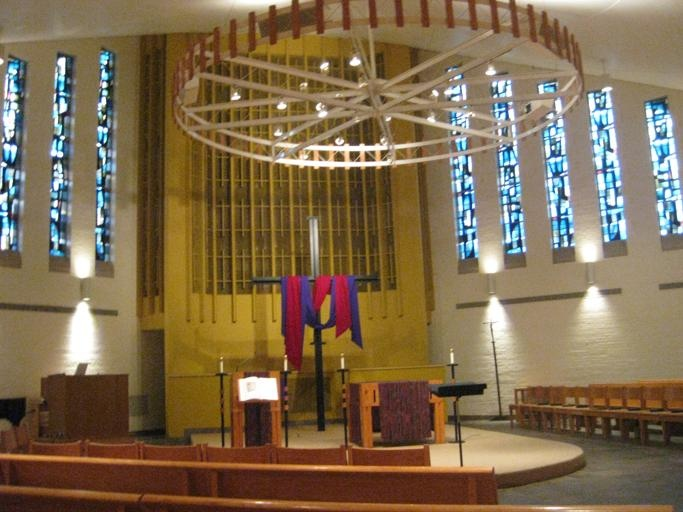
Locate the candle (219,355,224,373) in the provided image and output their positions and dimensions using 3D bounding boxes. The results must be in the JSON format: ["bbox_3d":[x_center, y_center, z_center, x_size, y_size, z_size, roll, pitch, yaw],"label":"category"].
[{"bbox_3d":[-2.103,1.907,11.746,0.043,0.233,0.489,1,-8,-15],"label":"candle"}]
